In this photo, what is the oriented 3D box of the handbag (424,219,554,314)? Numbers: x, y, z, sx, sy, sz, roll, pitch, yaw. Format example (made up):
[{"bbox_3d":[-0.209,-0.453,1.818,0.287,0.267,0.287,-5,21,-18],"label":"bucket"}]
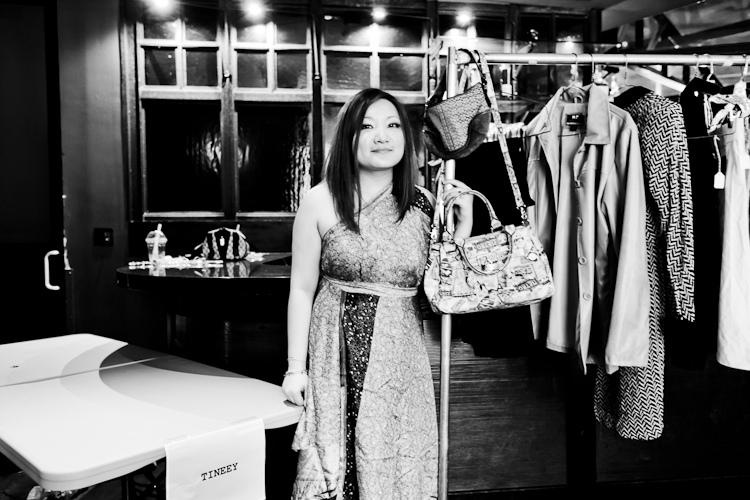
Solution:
[{"bbox_3d":[0.449,0.060,2.806,0.362,0.257,0.148,-10,-3,-3],"label":"handbag"}]

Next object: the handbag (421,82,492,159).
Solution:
[{"bbox_3d":[0.342,-0.533,2.773,0.239,0.326,0.115,-21,18,-1],"label":"handbag"}]
